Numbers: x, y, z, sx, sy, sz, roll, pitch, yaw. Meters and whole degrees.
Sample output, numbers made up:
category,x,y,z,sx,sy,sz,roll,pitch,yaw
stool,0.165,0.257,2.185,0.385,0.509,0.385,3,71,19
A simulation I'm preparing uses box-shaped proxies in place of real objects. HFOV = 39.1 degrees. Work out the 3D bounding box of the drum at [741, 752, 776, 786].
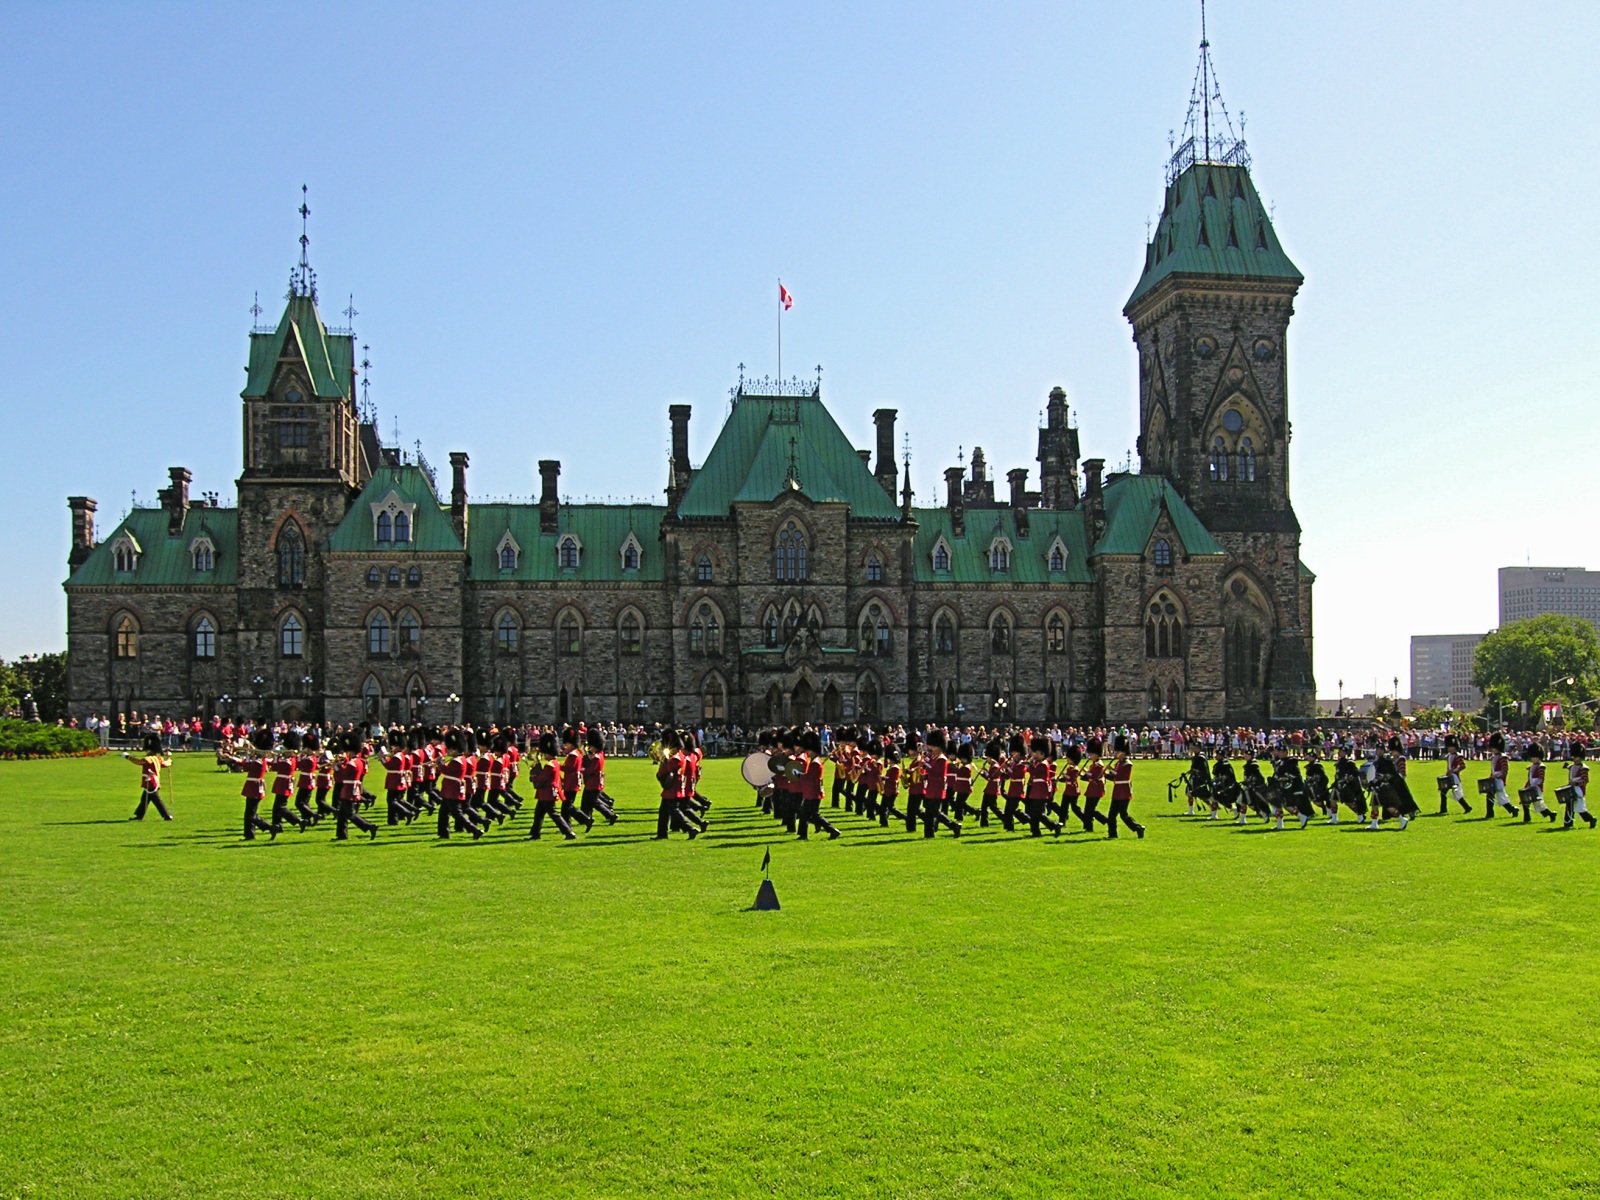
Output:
category,x,y,z,sx,sy,sz,roll,pitch,yaw
drum,-0.808,3.342,43.903,0.586,0.835,1.339,0,9,-3
